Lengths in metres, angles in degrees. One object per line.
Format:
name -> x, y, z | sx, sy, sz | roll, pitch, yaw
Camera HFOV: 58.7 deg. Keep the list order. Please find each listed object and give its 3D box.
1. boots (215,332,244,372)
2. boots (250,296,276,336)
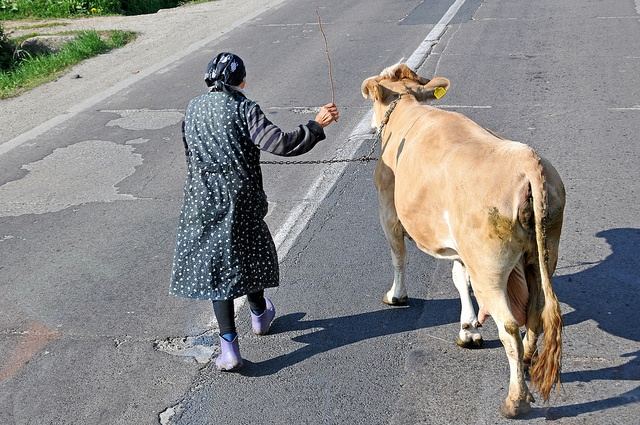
boots -> -0.929, 1.378, 5.661 | 0.180, 0.334, 0.360 | -5, -10, -33
boots -> -0.634, 1.173, 6.112 | 0.185, 0.276, 0.418 | 2, 2, -4
